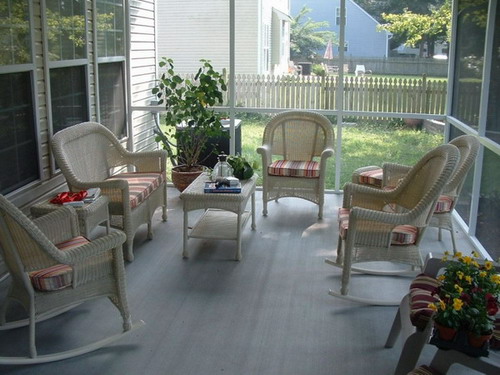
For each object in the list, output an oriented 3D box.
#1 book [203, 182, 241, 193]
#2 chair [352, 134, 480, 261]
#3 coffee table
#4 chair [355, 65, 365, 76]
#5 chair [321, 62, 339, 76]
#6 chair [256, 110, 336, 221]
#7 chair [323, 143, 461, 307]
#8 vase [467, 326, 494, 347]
[{"bbox_3d":[-0.284,0.002,3.901,0.389,0.056,0.274,0,17,-5],"label":"book"},{"bbox_3d":[1.778,0.207,4.050,0.754,1.018,0.883,-5,-8,-22],"label":"chair"},{"bbox_3d":[-0.316,0.266,4.214,0.644,0.720,1.042,1,12,8],"label":"coffee table"},{"bbox_3d":[1.588,-1.691,5.465,0.117,0.129,0.125,-1,9,5],"label":"chair"},{"bbox_3d":[1.167,-1.725,5.528,0.233,0.154,0.164,3,-20,3],"label":"chair"},{"bbox_3d":[0.605,-0.336,5.083,0.982,1.291,0.819,5,16,12],"label":"chair"},{"bbox_3d":[1.147,0.292,3.347,1.028,1.355,0.968,-1,12,-11],"label":"chair"},{"bbox_3d":[1.107,0.702,1.818,0.084,0.072,0.088,5,6,35],"label":"vase"}]
